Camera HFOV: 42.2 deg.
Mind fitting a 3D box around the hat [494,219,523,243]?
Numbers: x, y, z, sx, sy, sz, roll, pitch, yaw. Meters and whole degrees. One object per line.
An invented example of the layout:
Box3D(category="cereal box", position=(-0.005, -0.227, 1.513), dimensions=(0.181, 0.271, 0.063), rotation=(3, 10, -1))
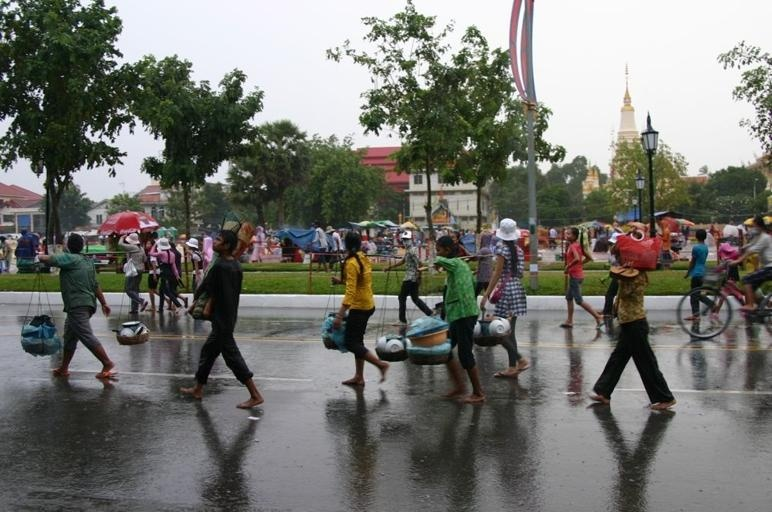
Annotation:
Box3D(category="hat", position=(2.239, -0.476, 18.495), dimensions=(0.494, 0.264, 0.530), rotation=(-1, 17, 0))

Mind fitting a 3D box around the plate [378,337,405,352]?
Box3D(category="plate", position=(0.087, 1.492, 17.312), dimensions=(0.368, 0.273, 0.260), rotation=(6, -1, 7))

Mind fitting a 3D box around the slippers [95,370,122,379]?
Box3D(category="slippers", position=(-5.059, 2.139, 18.202), dimensions=(0.440, 0.139, 0.174), rotation=(-1, -10, -30))

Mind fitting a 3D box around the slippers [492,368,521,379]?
Box3D(category="slippers", position=(2.154, 2.083, 18.086), dimensions=(0.517, 0.175, 0.169), rotation=(2, -9, 2))

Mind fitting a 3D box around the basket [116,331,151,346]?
Box3D(category="basket", position=(-4.836, 1.562, 18.769), dimensions=(0.446, 0.157, 0.451), rotation=(5, -17, -38))

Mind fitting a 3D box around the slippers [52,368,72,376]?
Box3D(category="slippers", position=(-5.952, 2.124, 18.369), dimensions=(0.358, 0.135, 0.124), rotation=(6, -15, 25))

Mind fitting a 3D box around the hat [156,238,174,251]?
Box3D(category="hat", position=(-5.693, -0.352, 25.633), dimensions=(0.303, 0.171, 0.360), rotation=(-1, -2, -29))

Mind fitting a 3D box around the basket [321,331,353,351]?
Box3D(category="basket", position=(-0.853, 1.455, 17.575), dimensions=(0.505, 0.294, 0.600), rotation=(3, -8, 0))

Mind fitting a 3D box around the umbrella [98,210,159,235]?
Box3D(category="umbrella", position=(-10.361, -1.369, 40.068), dimensions=(1.743, 0.616, 1.613), rotation=(-4, -1, 0))

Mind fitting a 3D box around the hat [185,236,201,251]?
Box3D(category="hat", position=(-5.248, -0.383, 26.665), dimensions=(0.502, 0.228, 0.473), rotation=(15, -1, 5))

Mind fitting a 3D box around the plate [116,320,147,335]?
Box3D(category="plate", position=(-4.841, 1.280, 18.796), dimensions=(0.437, 0.151, 0.391), rotation=(-8, -10, 38))

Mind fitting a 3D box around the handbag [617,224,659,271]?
Box3D(category="handbag", position=(4.225, -0.138, 16.902), dimensions=(0.720, 0.713, 0.540), rotation=(-1, 0, 11))

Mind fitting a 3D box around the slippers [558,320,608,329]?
Box3D(category="slippers", position=(4.422, 1.501, 22.474), dimensions=(0.855, 0.289, 0.167), rotation=(0, -14, 7))
